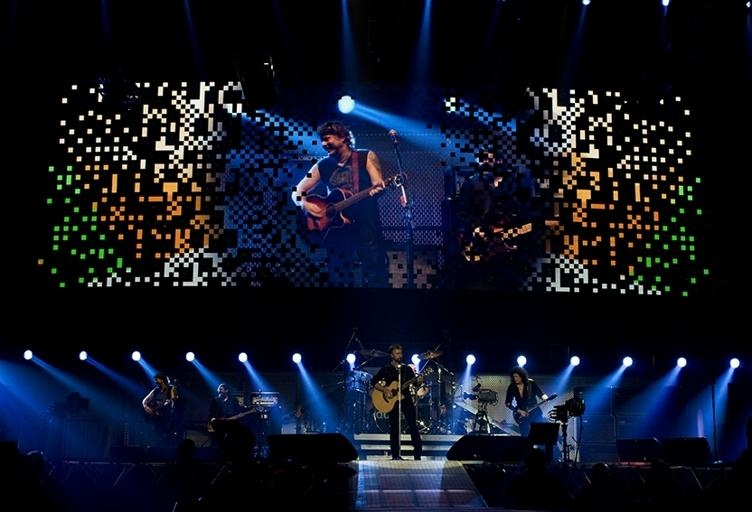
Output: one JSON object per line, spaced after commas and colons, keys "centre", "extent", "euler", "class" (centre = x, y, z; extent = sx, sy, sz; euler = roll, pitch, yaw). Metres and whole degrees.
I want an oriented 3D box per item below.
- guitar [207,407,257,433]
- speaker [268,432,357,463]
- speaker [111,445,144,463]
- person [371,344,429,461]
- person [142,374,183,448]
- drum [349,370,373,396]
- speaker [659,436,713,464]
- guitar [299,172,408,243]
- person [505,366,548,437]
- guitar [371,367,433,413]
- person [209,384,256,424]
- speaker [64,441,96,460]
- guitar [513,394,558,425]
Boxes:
{"centre": [-2.551, 2.847, 13.940], "extent": [0.876, 0.535, 2.701], "euler": [4, -15, -9], "class": "guitar"}
{"centre": [-0.889, 2.639, 10.891], "extent": [1.230, 0.407, 0.269], "euler": [4, -15, -9], "class": "speaker"}
{"centre": [-3.863, 3.067, 12.249], "extent": [0.351, 0.167, 0.255], "euler": [0, -11, 7], "class": "speaker"}
{"centre": [0.347, 2.516, 13.668], "extent": [0.876, 1.931, 0.583], "euler": [2, -15, 2], "class": "person"}
{"centre": [-4.070, 2.918, 15.087], "extent": [0.738, 1.328, 0.353], "euler": [-3, -16, 20], "class": "person"}
{"centre": [-0.334, 2.376, 15.112], "extent": [0.427, 0.472, 0.913], "euler": [3, -15, -3], "class": "drum"}
{"centre": [4.919, 3.088, 12.533], "extent": [0.766, 0.476, 0.413], "euler": [0, -15, 5], "class": "speaker"}
{"centre": [-0.397, -0.987, 14.205], "extent": [2.004, 0.911, 0.277], "euler": [-17, -4, 6], "class": "guitar"}
{"centre": [2.746, 2.679, 14.680], "extent": [0.206, 1.367, 0.606], "euler": [21, -24, -38], "class": "person"}
{"centre": [0.360, 2.345, 13.918], "extent": [1.260, 0.595, 0.172], "euler": [-30, -14, 1], "class": "guitar"}
{"centre": [-2.798, 2.872, 15.320], "extent": [1.069, 0.443, 0.137], "euler": [11, -40, -36], "class": "person"}
{"centre": [-5.225, 3.436, 14.003], "extent": [0.580, 0.314, 3.740], "euler": [7, -16, -19], "class": "speaker"}
{"centre": [3.089, 2.889, 14.929], "extent": [0.661, 0.581, 1.161], "euler": [-9, -19, 37], "class": "guitar"}
